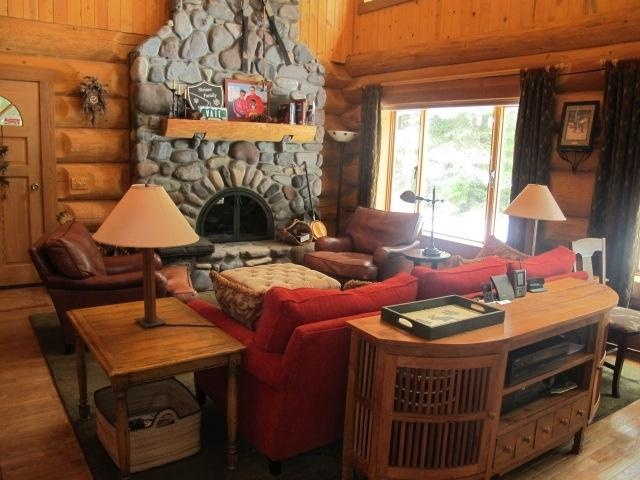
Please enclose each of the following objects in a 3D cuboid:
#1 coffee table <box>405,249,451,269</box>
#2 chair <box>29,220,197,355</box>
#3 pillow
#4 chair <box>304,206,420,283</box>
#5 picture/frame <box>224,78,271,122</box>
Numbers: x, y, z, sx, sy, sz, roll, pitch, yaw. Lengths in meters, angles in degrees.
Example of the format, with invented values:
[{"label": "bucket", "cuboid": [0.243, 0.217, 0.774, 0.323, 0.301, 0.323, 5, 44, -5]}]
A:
[{"label": "coffee table", "cuboid": [1.195, 0.224, 5.468, 0.344, 0.352, 0.350, -9, 14, -40]}, {"label": "chair", "cuboid": [-1.992, 0.387, 4.574, 1.184, 0.809, 1.043, 2, 11, -23]}, {"label": "pillow", "cuboid": [-0.529, 0.391, 3.278, 0.354, 0.138, 0.428, -1, 16, -41]}, {"label": "chair", "cuboid": [0.525, 0.195, 6.186, 1.425, 0.936, 1.277, -1, 17, 0]}, {"label": "picture/frame", "cuboid": [-0.887, -1.765, 6.247, 0.716, 0.523, 0.040, 9, 22, 23]}]
